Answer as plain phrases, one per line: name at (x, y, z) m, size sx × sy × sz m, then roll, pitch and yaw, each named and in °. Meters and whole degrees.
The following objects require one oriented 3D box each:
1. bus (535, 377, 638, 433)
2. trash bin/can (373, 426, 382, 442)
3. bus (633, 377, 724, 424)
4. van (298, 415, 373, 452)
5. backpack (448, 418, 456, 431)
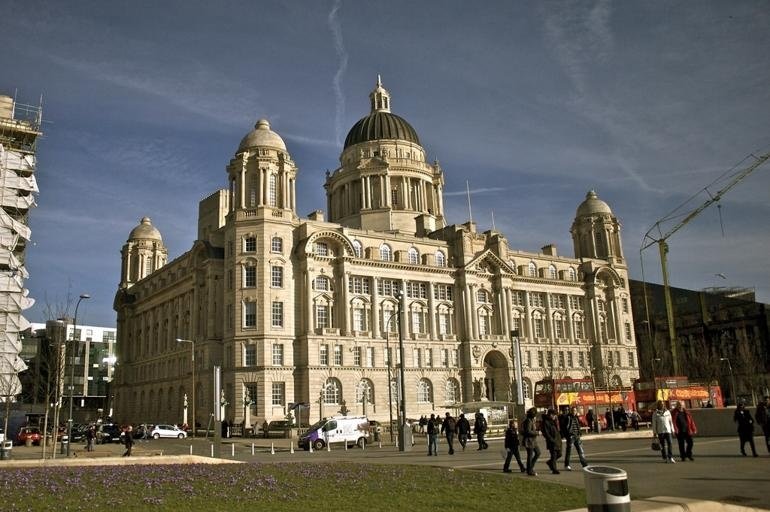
bus at (21.509, 15.245, 72.724) m, size 11.037 × 4.275 × 3.810 m, roll 3°, pitch -9°, yaw -24°
trash bin/can at (-0.726, 16.316, 63.768) m, size 0.650 × 1.333 × 2.051 m, roll -1°, pitch -17°, yaw -5°
bus at (31.697, 15.171, 74.021) m, size 10.993 × 4.398 × 2.779 m, roll 4°, pitch -14°, yaw -29°
van at (-3.941, 14.296, 56.529) m, size 5.512 × 2.641 × 2.327 m, roll 1°, pitch -18°, yaw -10°
backpack at (4.572, 11.519, 47.629) m, size 0.169 × 0.810 × 0.836 m, roll -29°, pitch -43°, yaw 32°
